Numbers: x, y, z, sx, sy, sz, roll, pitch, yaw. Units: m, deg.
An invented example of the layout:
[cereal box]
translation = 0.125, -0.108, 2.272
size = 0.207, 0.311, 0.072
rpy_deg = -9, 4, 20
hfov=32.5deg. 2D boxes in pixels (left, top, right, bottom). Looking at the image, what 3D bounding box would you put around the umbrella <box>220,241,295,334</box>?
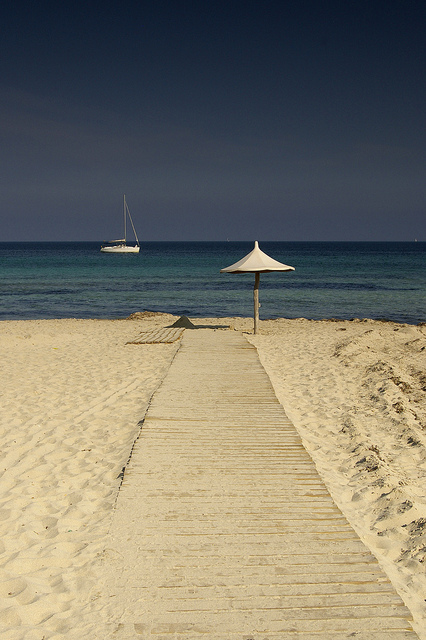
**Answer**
[umbrella]
translation = 0.807, -0.575, 13.376
size = 1.382, 1.647, 1.314
rpy_deg = -6, 8, -41
